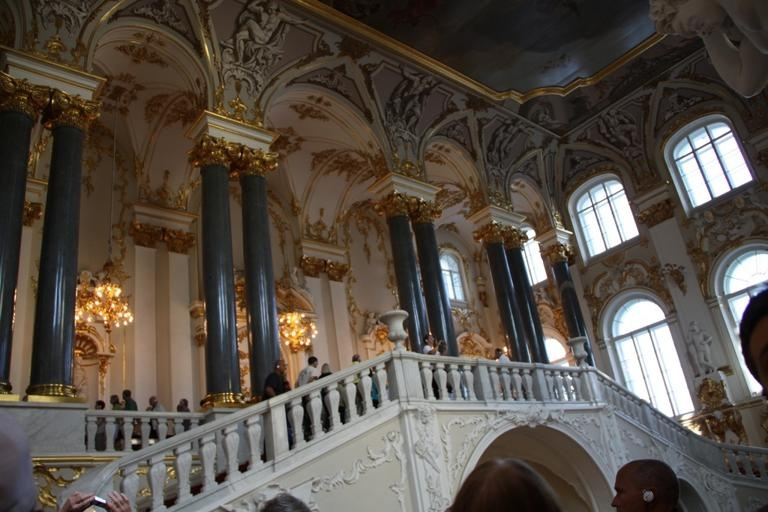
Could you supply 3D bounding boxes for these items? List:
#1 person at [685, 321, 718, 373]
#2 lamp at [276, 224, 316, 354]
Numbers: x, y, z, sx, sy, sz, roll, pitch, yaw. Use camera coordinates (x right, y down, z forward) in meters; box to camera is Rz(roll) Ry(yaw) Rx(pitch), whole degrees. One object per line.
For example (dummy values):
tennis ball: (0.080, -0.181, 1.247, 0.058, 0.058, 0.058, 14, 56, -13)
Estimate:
person: (8.869, 2.575, 14.534, 0.262, 1.462, 0.756, 12, -29, -35)
lamp: (-2.574, 1.396, 15.010, 1.027, 2.664, 1.646, -10, -24, 10)
